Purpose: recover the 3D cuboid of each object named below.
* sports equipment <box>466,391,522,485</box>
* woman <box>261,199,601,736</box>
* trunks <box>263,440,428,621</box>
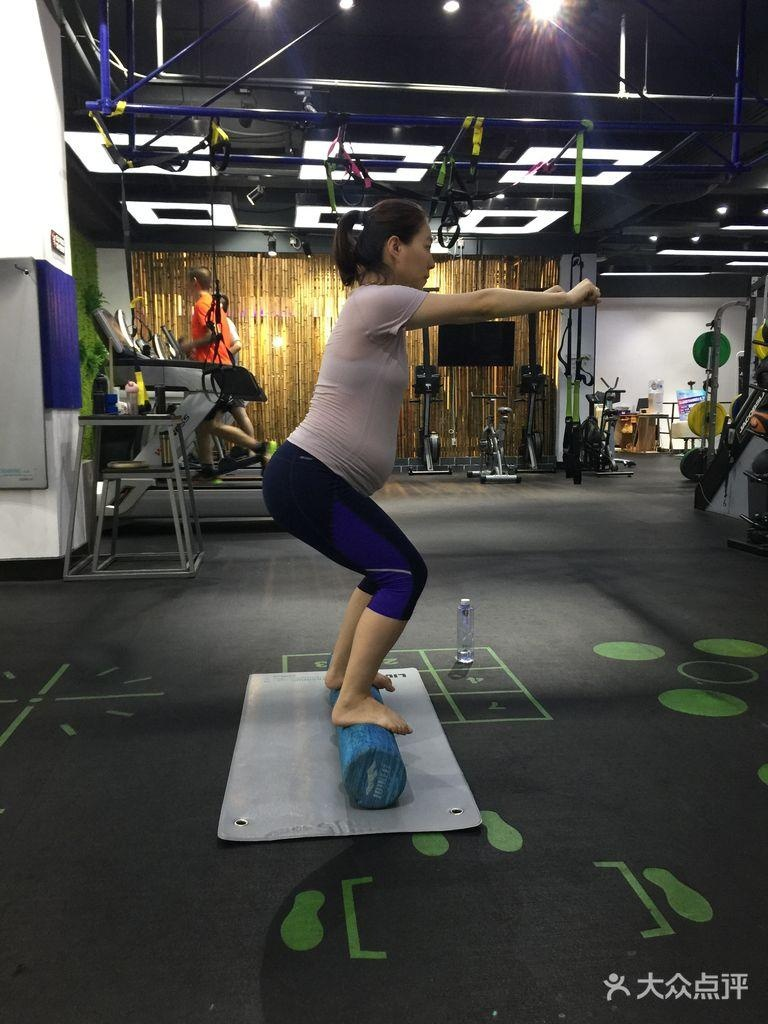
[{"bbox_3d":[1.677,-1.129,10.689,0.686,1.341,1.827,2,5,0],"label":"sports equipment"},{"bbox_3d":[-0.102,-0.206,2.384,1.173,1.792,1.076,0,6,-8],"label":"woman"},{"bbox_3d":[-0.062,0.072,1.692,0.343,0.716,0.195,-1,32,-1],"label":"trunks"}]
